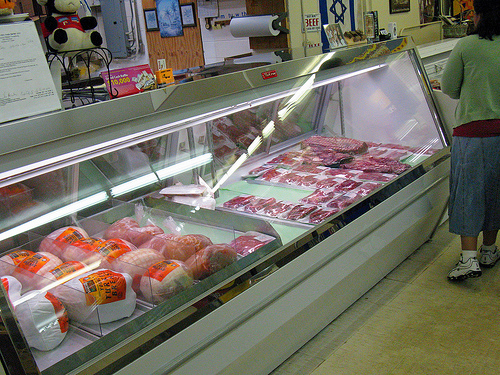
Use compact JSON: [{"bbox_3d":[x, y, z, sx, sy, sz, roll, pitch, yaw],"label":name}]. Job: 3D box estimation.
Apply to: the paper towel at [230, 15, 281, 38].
[{"bbox_3d":[0.031,-1.744,3.654,0.257,0.227,0.567,-21,24,-33],"label":"paper towel"}]
